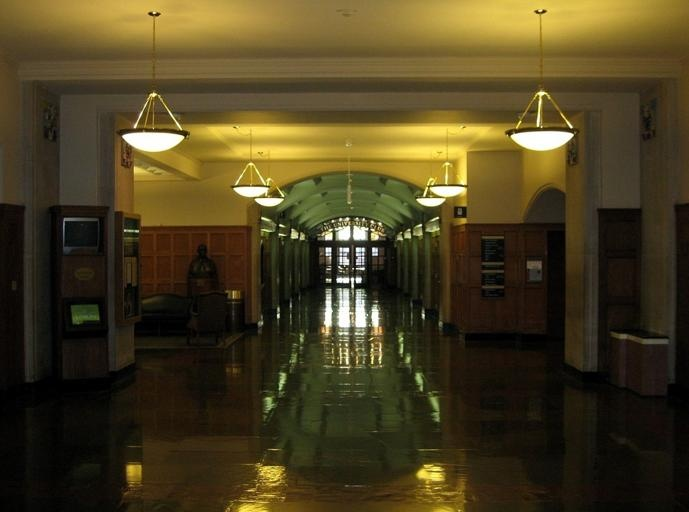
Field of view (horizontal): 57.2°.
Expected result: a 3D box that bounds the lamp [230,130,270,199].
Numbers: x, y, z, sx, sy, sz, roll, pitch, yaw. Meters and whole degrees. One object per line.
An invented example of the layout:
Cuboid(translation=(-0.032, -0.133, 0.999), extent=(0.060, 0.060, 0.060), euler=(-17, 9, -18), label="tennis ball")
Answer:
Cuboid(translation=(-2.109, -2.239, 14.275), extent=(0.729, 1.619, 0.721), euler=(-3, 3, -35), label="lamp")

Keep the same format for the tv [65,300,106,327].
Cuboid(translation=(-4.068, 0.911, 9.989), extent=(0.655, 0.550, 0.357), euler=(0, 3, -7), label="tv")

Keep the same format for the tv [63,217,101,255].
Cuboid(translation=(-4.102, -0.324, 9.896), extent=(0.527, 0.544, 0.112), euler=(0, 3, -7), label="tv")

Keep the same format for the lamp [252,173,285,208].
Cuboid(translation=(-1.821, -1.612, 15.686), extent=(0.787, 0.883, 0.784), euler=(-4, 6, -31), label="lamp")

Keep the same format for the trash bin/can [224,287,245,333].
Cuboid(translation=(-2.794, 1.382, 16.311), extent=(0.426, 1.016, 0.645), euler=(0, 3, -7), label="trash bin/can")

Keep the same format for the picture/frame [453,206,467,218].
Cuboid(translation=(2.802, -1.066, 15.338), extent=(0.343, 0.245, 0.350), euler=(0, 4, -39), label="picture/frame")

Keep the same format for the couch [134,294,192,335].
Cuboid(translation=(-4.411, 1.413, 15.335), extent=(1.426, 0.991, 0.772), euler=(1, 1, -13), label="couch")

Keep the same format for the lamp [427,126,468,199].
Cuboid(translation=(2.308, -2.040, 14.134), extent=(0.863, 1.347, 0.893), euler=(0, 4, 22), label="lamp")

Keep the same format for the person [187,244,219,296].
Cuboid(translation=(-3.634, 0.353, 16.204), extent=(0.735, 1.285, 0.338), euler=(0, 3, -10), label="person")

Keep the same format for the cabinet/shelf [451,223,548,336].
Cuboid(translation=(3.755, 0.547, 14.757), extent=(1.848, 2.592, 0.605), euler=(1, 3, 17), label="cabinet/shelf")

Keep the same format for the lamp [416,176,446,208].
Cuboid(translation=(2.042, -1.592, 15.306), extent=(0.775, 0.786, 0.785), euler=(1, 0, 8), label="lamp")
